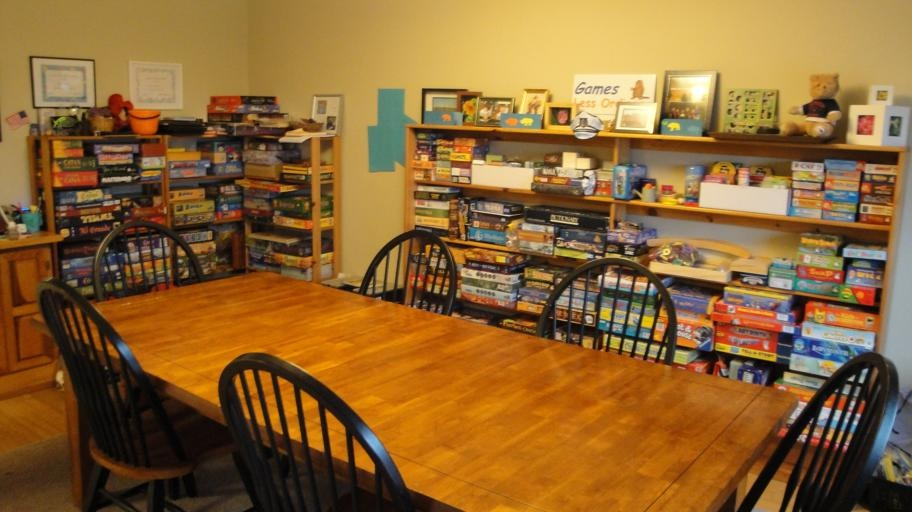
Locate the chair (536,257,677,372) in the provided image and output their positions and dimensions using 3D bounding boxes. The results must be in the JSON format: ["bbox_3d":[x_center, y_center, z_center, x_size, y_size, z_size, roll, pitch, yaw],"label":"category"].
[{"bbox_3d":[0.983,0.372,3.809,0.712,0.838,0.631,11,14,33],"label":"chair"}]

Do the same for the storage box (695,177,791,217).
[{"bbox_3d":[1.906,-0.380,4.038,0.539,0.187,0.071,6,21,22],"label":"storage box"}]

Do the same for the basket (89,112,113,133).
[{"bbox_3d":[-2.886,-1.082,4.988,0.210,0.126,0.158,5,9,29],"label":"basket"}]

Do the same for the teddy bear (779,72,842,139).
[{"bbox_3d":[2.285,-0.961,3.885,0.329,0.376,0.322,14,30,41],"label":"teddy bear"}]

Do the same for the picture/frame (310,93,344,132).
[{"bbox_3d":[-1.168,-1.322,5.630,0.458,0.360,0.047,8,3,31],"label":"picture/frame"}]

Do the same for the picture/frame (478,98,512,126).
[{"bbox_3d":[0.320,-1.109,4.703,0.306,0.209,0.029,2,-4,21],"label":"picture/frame"}]

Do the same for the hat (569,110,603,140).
[{"bbox_3d":[0.839,-0.820,3.845,0.195,0.131,0.218,3,4,24],"label":"hat"}]

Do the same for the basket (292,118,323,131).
[{"bbox_3d":[-1.363,-1.208,5.600,0.284,0.096,0.354,-4,17,-10],"label":"basket"}]

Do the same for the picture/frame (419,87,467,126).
[{"bbox_3d":[-0.079,-1.229,4.995,0.473,0.317,0.044,6,11,25],"label":"picture/frame"}]

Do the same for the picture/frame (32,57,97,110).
[{"bbox_3d":[-3.254,-1.434,5.043,0.557,0.380,0.044,-9,14,-41],"label":"picture/frame"}]

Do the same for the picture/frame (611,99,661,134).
[{"bbox_3d":[1.288,-0.983,4.298,0.318,0.212,0.021,8,-4,23],"label":"picture/frame"}]
